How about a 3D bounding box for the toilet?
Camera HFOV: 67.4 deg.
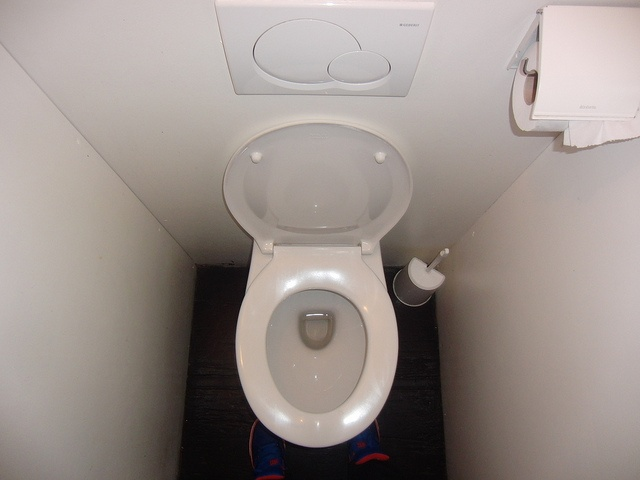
[{"bbox_3d":[0.002,0.165,1.411,0.415,0.862,0.824,-1,59,-1],"label":"toilet"}]
